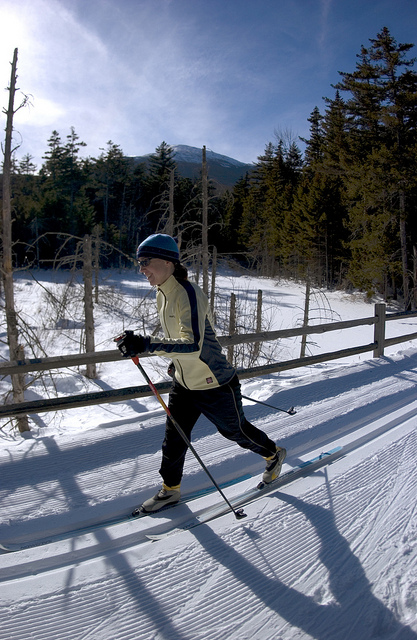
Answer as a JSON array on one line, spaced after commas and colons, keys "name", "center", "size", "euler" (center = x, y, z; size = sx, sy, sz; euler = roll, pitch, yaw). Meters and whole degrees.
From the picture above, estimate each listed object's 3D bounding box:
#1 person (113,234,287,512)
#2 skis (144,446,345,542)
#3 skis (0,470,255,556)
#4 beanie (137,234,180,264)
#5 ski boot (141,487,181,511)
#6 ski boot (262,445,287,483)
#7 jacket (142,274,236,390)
[{"name": "person", "center": [-0.012, 0.315, 2.733], "size": [0.917, 1.610, 1.030], "euler": [2, 8, 7]}, {"name": "skis", "center": [0.223, 1.069, 2.752], "size": [1.512, 0.110, 0.168], "euler": [-14, -6, -37]}, {"name": "skis", "center": [-0.457, 1.109, 2.572], "size": [1.613, 0.096, 0.174], "euler": [-7, -5, -40]}, {"name": "beanie", "center": [-0.250, -0.387, 2.386], "size": [0.163, 0.134, 0.164], "euler": [-15, 22, -12]}, {"name": "ski boot", "center": [-0.269, 1.054, 2.705], "size": [0.245, 0.108, 0.084], "euler": [-5, 3, -25]}, {"name": "ski boot", "center": [0.426, 0.923, 2.925], "size": [0.163, 0.242, 0.086], "euler": [-5, 10, -35]}, {"name": "jacket", "center": [-0.158, 0.086, 2.549], "size": [0.497, 0.623, 0.473], "euler": [-19, 15, -36]}]
